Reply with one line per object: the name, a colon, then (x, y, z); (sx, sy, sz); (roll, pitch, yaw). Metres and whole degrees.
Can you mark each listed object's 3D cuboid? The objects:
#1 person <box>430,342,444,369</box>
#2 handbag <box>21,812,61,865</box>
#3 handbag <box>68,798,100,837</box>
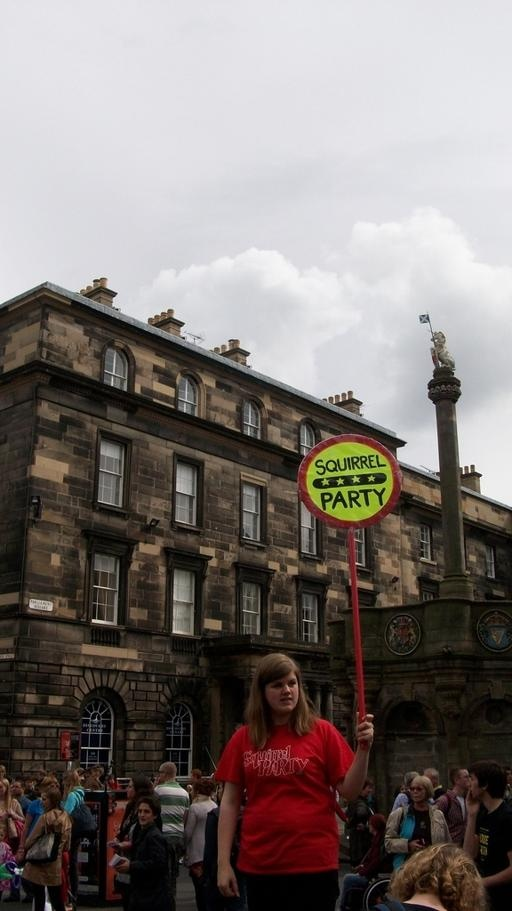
person: (4.927, -2.707, 22.825); (0.230, 0.888, 0.628); (-6, -16, 15)
handbag: (-2.239, 4.043, 8.678); (0.432, 0.429, 0.202); (-5, -15, 12)
handbag: (-2.478, 5.260, 11.943); (0.316, 0.609, 1.047); (0, -16, -8)
